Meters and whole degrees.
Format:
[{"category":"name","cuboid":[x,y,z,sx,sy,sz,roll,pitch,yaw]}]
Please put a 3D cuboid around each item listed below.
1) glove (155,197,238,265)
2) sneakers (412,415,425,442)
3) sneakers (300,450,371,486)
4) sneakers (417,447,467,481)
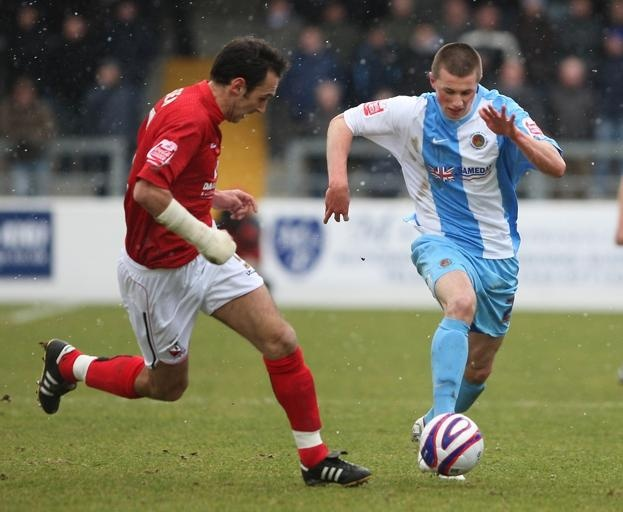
[{"category":"glove","cuboid":[-0.635,-0.131,5.584,0.536,0.254,0.207,39,-1,-16]},{"category":"sneakers","cuboid":[0.723,1.123,6.295,0.115,0.177,0.128,3,-5,-16]},{"category":"sneakers","cuboid":[0.138,1.282,5.830,0.439,0.238,0.168,-4,-2,9]},{"category":"sneakers","cuboid":[0.770,1.244,5.727,0.231,0.151,0.189,21,9,16]}]
